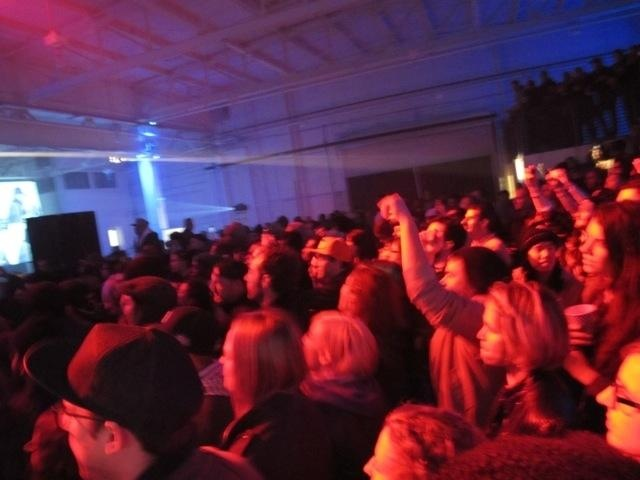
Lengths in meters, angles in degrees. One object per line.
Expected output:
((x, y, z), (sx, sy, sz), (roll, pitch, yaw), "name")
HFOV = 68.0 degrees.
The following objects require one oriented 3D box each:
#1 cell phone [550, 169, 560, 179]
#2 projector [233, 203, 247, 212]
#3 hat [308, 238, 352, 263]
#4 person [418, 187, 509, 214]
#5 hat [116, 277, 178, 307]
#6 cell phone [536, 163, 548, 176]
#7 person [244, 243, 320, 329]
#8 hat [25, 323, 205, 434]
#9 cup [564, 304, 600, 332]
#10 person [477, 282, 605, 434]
((1.921, -0.538, 3.889), (0.022, 0.068, 0.069), (12, 1, -14), "cell phone")
((-1.756, -0.708, 10.546), (0.232, 0.123, 0.230), (-1, -1, 10), "projector")
((0.099, 0.085, 3.687), (0.266, 0.118, 0.185), (7, -3, -14), "hat")
((2.038, -0.559, 6.641), (0.756, 0.196, 0.819), (-6, 3, -32), "person")
((-1.221, 0.360, 3.388), (0.303, 0.107, 0.224), (15, -5, 8), "hat")
((3.248, -1.040, 6.983), (0.121, 0.189, 0.176), (-15, 9, 7), "cell phone")
((-0.212, 0.296, 3.595), (0.555, 0.807, 0.448), (-2, -3, 22), "person")
((-0.865, 0.562, 2.099), (0.667, 0.275, 0.442), (25, 16, 0), "hat")
((1.376, 0.390, 2.545), (0.154, 0.130, 0.160), (-6, 14, 1), "cup")
((1.232, 0.596, 2.741), (0.646, 0.895, 0.922), (5, 3, 29), "person")
